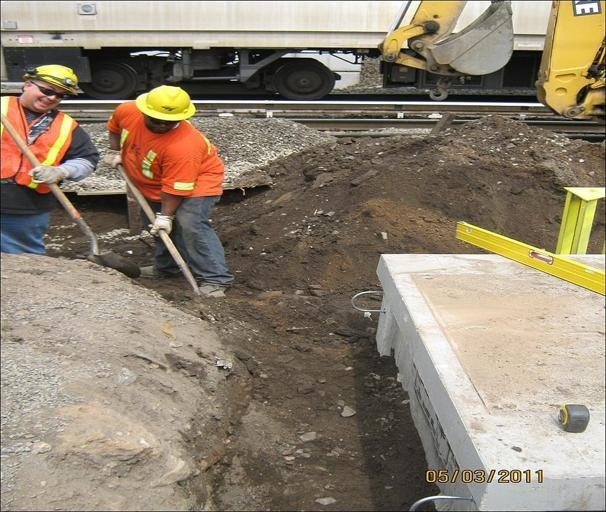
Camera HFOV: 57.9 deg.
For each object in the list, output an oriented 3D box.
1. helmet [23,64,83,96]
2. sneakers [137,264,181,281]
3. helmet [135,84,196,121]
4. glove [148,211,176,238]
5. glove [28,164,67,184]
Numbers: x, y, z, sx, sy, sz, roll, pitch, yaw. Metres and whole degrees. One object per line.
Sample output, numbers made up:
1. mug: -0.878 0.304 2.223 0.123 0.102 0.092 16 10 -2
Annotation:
1. helmet: -1.694 -1.193 3.626 0.385 0.133 0.271 21 12 27
2. sneakers: -1.300 0.144 4.897 0.425 0.108 0.099 5 87 -6
3. helmet: -0.968 -1.142 3.973 0.471 0.145 0.316 4 48 -16
4. glove: -1.116 -0.249 4.301 0.204 0.222 0.088 21 71 -8
5. glove: -1.633 -0.527 3.522 0.234 0.070 0.097 0 73 -11
